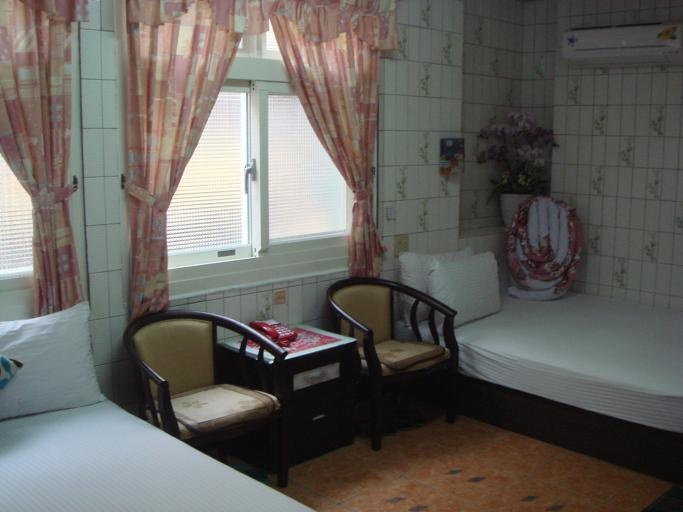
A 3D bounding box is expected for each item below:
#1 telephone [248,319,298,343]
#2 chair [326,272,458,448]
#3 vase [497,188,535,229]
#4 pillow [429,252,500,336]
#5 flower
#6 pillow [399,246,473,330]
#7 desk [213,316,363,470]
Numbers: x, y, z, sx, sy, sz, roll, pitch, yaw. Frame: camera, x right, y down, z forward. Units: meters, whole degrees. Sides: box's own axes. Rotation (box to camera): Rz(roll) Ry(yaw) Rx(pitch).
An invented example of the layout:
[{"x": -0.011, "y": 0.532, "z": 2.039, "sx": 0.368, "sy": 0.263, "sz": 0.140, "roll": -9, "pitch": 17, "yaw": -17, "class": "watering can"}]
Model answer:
[{"x": -0.425, "y": 0.465, "z": 3.335, "sx": 0.201, "sy": 0.048, "sz": 0.145, "roll": 26, "pitch": 25, "yaw": 37, "class": "telephone"}, {"x": 0.345, "y": 0.555, "z": 3.928, "sx": 1.037, "sy": 1.328, "sz": 0.979, "roll": -5, "pitch": 5, "yaw": -39, "class": "chair"}, {"x": 1.632, "y": -0.449, "z": 5.023, "sx": 0.297, "sy": 0.343, "sz": 0.304, "roll": -1, "pitch": 11, "yaw": -4, "class": "vase"}, {"x": 0.930, "y": 0.302, "z": 3.997, "sx": 0.551, "sy": 0.392, "sz": 0.192, "roll": -6, "pitch": 9, "yaw": -40, "class": "pillow"}, {"x": 1.671, "y": -0.956, "z": 5.042, "sx": 0.725, "sy": 0.822, "sz": 0.519, "roll": 4, "pitch": 12, "yaw": 22, "class": "flower"}, {"x": 0.708, "y": 0.262, "z": 3.981, "sx": 0.559, "sy": 0.375, "sz": 0.161, "roll": -15, "pitch": 11, "yaw": -38, "class": "pillow"}, {"x": -0.254, "y": 0.747, "z": 3.453, "sx": 0.680, "sy": 0.905, "sz": 0.900, "roll": 2, "pitch": 4, "yaw": 32, "class": "desk"}]
